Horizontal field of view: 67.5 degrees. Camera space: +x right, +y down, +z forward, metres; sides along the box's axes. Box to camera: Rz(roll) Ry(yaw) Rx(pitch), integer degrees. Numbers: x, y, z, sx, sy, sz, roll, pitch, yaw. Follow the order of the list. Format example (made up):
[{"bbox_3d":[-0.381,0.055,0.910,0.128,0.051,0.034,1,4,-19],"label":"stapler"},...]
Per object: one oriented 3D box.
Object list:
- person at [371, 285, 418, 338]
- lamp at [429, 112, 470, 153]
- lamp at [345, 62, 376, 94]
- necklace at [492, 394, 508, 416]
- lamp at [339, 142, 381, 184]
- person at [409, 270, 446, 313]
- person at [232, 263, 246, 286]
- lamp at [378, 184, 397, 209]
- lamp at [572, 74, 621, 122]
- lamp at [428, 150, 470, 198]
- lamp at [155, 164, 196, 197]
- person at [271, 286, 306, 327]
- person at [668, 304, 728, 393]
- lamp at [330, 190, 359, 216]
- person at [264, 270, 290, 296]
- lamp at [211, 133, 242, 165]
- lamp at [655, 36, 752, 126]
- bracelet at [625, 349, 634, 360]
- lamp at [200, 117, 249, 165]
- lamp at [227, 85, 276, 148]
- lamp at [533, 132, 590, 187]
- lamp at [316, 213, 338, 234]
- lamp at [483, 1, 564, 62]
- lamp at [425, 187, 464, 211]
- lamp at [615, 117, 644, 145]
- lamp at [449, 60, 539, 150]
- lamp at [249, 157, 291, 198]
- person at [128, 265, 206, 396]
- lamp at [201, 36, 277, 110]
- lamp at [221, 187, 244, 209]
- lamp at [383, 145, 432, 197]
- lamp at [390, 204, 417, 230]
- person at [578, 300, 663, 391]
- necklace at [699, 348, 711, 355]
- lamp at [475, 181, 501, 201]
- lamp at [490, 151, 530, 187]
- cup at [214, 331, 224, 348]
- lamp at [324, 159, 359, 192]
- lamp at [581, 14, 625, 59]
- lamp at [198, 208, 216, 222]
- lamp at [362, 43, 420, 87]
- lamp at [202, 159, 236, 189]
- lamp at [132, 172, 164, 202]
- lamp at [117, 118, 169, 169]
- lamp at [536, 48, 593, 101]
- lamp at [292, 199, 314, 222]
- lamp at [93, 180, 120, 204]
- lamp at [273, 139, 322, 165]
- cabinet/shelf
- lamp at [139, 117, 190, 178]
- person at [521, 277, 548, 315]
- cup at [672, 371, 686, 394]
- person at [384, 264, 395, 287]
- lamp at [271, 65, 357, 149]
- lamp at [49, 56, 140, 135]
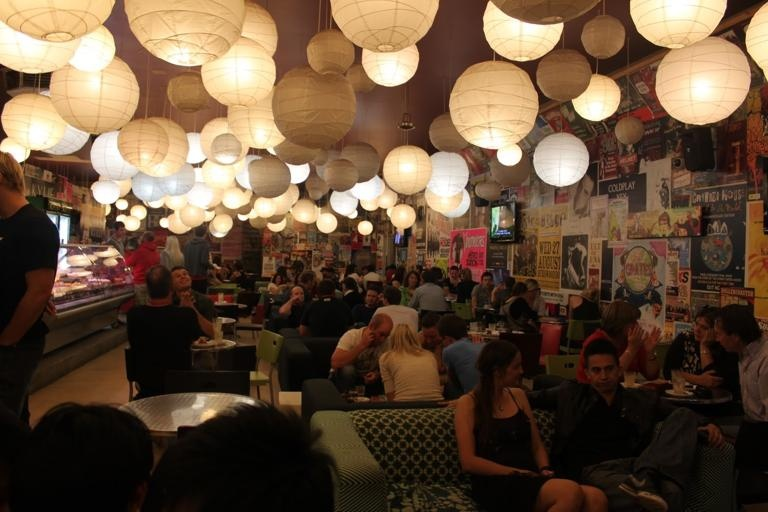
[{"bbox_3d":[0.119,0.723,7.728,0.421,1.008,0.559,-6,16,-22],"label":"person"},{"bbox_3d":[0.836,-1.530,7.133,0.452,0.533,0.455,-5,14,-17],"label":"lamp"},{"bbox_3d":[-0.304,-1.943,6.567,0.394,0.452,0.399,-1,5,-7],"label":"lamp"},{"bbox_3d":[0.879,1.106,4.316,0.106,0.153,0.036,4,-9,-24],"label":"necklace"},{"bbox_3d":[-0.350,-1.306,7.986,0.513,0.612,0.524,8,4,27],"label":"lamp"},{"bbox_3d":[0.780,0.662,10.782,0.444,0.941,0.512,5,-38,-5],"label":"person"},{"bbox_3d":[-4.507,0.499,17.486,0.395,0.723,1.934,3,0,-15],"label":"person"},{"bbox_3d":[0.025,-1.260,12.137,0.411,0.500,0.421,-3,9,-40],"label":"lamp"},{"bbox_3d":[2.403,-1.713,6.319,0.539,0.631,0.552,-2,9,1],"label":"lamp"},{"bbox_3d":[0.859,-1.089,7.773,0.544,0.642,0.556,1,1,9],"label":"lamp"},{"bbox_3d":[-3.037,-1.061,8.257,0.469,0.549,0.467,2,-2,-16],"label":"lamp"},{"bbox_3d":[-1.651,0.854,9.795,0.845,0.767,0.507,3,0,44],"label":"person"},{"bbox_3d":[3.243,0.917,5.855,0.500,0.792,0.590,-6,18,-8],"label":"person"},{"bbox_3d":[-0.763,-0.927,9.870,0.395,0.472,0.409,8,34,39],"label":"lamp"},{"bbox_3d":[-2.674,0.655,14.179,0.370,0.553,0.949,3,17,0],"label":"person"},{"bbox_3d":[-1.997,-1.354,7.167,0.386,0.445,0.375,-11,20,-43],"label":"lamp"},{"bbox_3d":[2.600,-1.378,4.817,0.684,0.798,0.700,2,6,16],"label":"lamp"},{"bbox_3d":[2.308,0.902,5.368,0.058,0.046,0.057,-4,5,-10],"label":"bracelet"},{"bbox_3d":[-1.946,-1.424,7.170,0.676,0.792,0.677,-3,8,-17],"label":"lamp"},{"bbox_3d":[-1.257,-1.325,5.689,0.515,0.606,0.524,-1,-2,-4],"label":"lamp"},{"bbox_3d":[2.358,-1.296,7.538,0.661,0.776,0.682,2,-1,43],"label":"lamp"},{"bbox_3d":[-1.260,-0.742,13.034,0.526,0.622,0.542,0,0,15],"label":"lamp"},{"bbox_3d":[0.992,-1.587,4.187,0.474,0.557,0.486,2,6,8],"label":"lamp"},{"bbox_3d":[0.982,-0.909,9.483,0.434,0.333,0.436,-1,5,-15],"label":"lamp"},{"bbox_3d":[3.504,-1.808,8.211,0.261,0.362,0.378,3,0,-19],"label":"lamp"},{"bbox_3d":[0.850,-1.140,4.598,0.659,0.750,0.646,-10,13,-43],"label":"lamp"},{"bbox_3d":[-1.424,-0.951,7.266,0.486,0.493,0.496,-4,-10,2],"label":"lamp"},{"bbox_3d":[-2.090,0.709,5.355,0.647,1.287,0.240,3,0,8],"label":"person"},{"bbox_3d":[-1.192,-1.467,4.752,0.524,0.524,0.529,0,10,-3],"label":"lamp"},{"bbox_3d":[-2.724,-1.053,10.294,0.398,0.381,0.574,3,0,-14],"label":"lamp"},{"bbox_3d":[0.289,-0.995,6.976,0.543,0.643,0.560,-1,-5,25],"label":"lamp"},{"bbox_3d":[0.337,-0.815,11.914,0.557,0.584,0.547,-1,0,15],"label":"lamp"},{"bbox_3d":[2.306,1.115,5.575,0.719,1.287,0.643,1,-14,19],"label":"person"},{"bbox_3d":[3.256,0.947,5.798,0.074,0.051,0.075,4,-6,-20],"label":"necklace"},{"bbox_3d":[2.165,-1.342,11.879,0.396,0.284,0.458,4,7,15],"label":"lamp"},{"bbox_3d":[2.184,-1.413,9.701,0.551,0.406,0.568,2,-5,30],"label":"lamp"},{"bbox_3d":[-1.940,0.960,6.678,0.121,0.142,0.124,3,-2,0],"label":"cup"},{"bbox_3d":[-0.577,-1.096,7.635,0.438,0.425,0.433,3,0,0],"label":"lamp"},{"bbox_3d":[2.123,-2.053,5.537,0.388,0.461,0.399,5,5,35],"label":"lamp"},{"bbox_3d":[-3.994,-0.929,12.759,0.253,0.262,0.294,14,-35,-14],"label":"lamp"},{"bbox_3d":[0.046,-1.623,5.092,0.420,0.497,0.437,3,11,11],"label":"lamp"},{"bbox_3d":[-2.474,-1.206,8.685,0.434,0.516,0.444,3,4,21],"label":"lamp"},{"bbox_3d":[-3.509,-0.966,8.458,0.407,0.480,0.419,1,-2,42],"label":"lamp"},{"bbox_3d":[-2.420,-1.103,5.933,0.469,0.551,0.481,-1,0,8],"label":"lamp"},{"bbox_3d":[1.634,-1.630,5.307,0.459,0.544,0.469,8,10,36],"label":"lamp"},{"bbox_3d":[-1.610,-0.851,11.145,0.413,0.497,0.427,5,13,24],"label":"lamp"},{"bbox_3d":[-5.226,-1.148,10.717,0.539,0.486,0.468,3,-6,-30],"label":"lamp"},{"bbox_3d":[-0.956,-1.093,6.188,0.330,0.217,0.323,-6,10,-41],"label":"lamp"},{"bbox_3d":[-4.142,0.884,7.790,0.685,1.291,1.964,2,2,-4],"label":"cabinet/shelf"},{"bbox_3d":[-2.246,-1.145,6.162,0.546,0.650,0.562,0,4,-3],"label":"lamp"},{"bbox_3d":[2.681,0.720,10.206,0.266,0.756,0.290,-7,39,21],"label":"person"},{"bbox_3d":[2.732,1.156,5.336,0.152,0.197,0.163,0,0,0],"label":"cup"},{"bbox_3d":[0.126,0.523,17.382,0.430,0.804,0.482,1,-2,-13],"label":"person"},{"bbox_3d":[-0.571,-1.277,4.815,0.688,0.605,0.704,-3,33,-4],"label":"lamp"},{"bbox_3d":[-2.365,-1.240,4.810,0.614,0.728,0.631,2,5,39],"label":"lamp"}]
